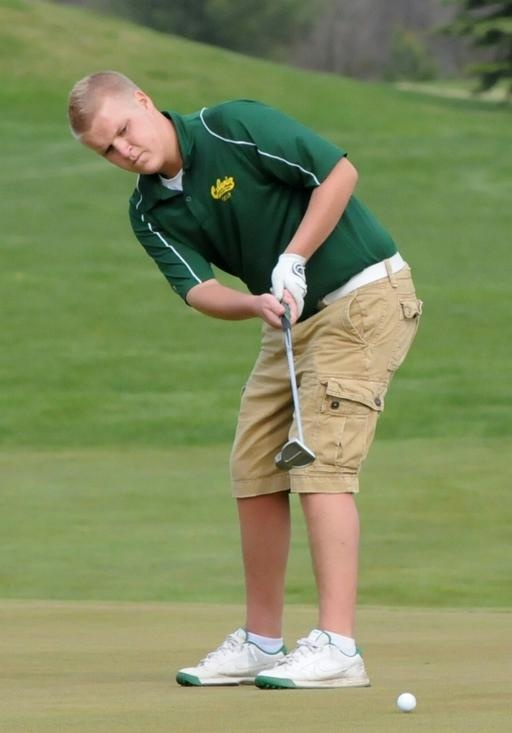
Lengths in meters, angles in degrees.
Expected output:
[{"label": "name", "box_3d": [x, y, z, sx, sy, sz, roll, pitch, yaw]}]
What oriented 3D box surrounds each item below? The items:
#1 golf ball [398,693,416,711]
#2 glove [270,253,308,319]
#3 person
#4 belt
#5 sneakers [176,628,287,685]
[{"label": "golf ball", "box_3d": [0.294, 0.658, 1.942, 0.039, 0.035, 0.032, -19, 46, 23]}, {"label": "glove", "box_3d": [0.079, -0.183, 2.141, 0.089, 0.126, 0.065, -18, -37, 36]}, {"label": "person", "box_3d": [0.026, 0.079, 2.284, 0.784, 1.438, 0.963, -4, 24, -18]}, {"label": "belt", "box_3d": [0.255, -0.210, 2.276, 0.170, 0.048, 0.123, -25, 8, 7]}, {"label": "sneakers", "box_3d": [-0.066, 0.683, 2.340, 0.276, 0.095, 0.098, 0, -5, -30]}]
